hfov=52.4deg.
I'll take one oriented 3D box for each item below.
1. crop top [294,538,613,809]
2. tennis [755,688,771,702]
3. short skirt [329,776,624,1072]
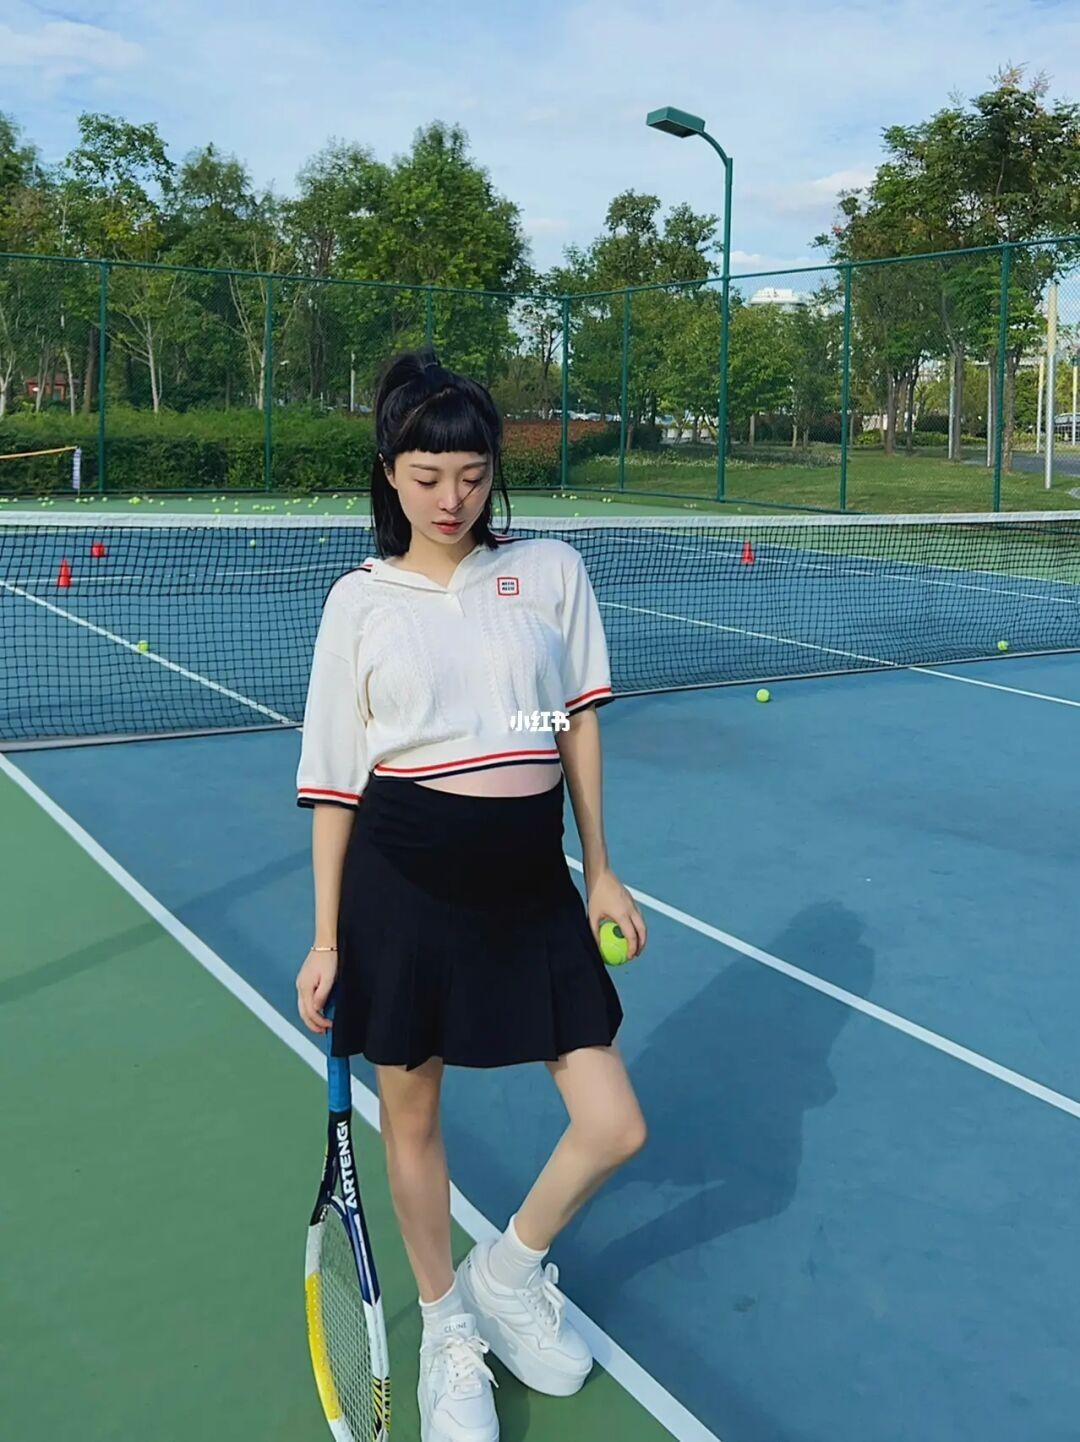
[{"bbox_3d":[-0.116,-0.072,1.648,0.480,0.425,0.262,-3,-11,-13],"label":"crop top"},{"bbox_3d":[1.594,-0.185,7.752,0.081,0.095,0.113,-6,-4,-4],"label":"tennis"},{"bbox_3d":[-0.090,0.251,1.599,0.419,0.440,0.272,-1,19,-5],"label":"short skirt"}]
